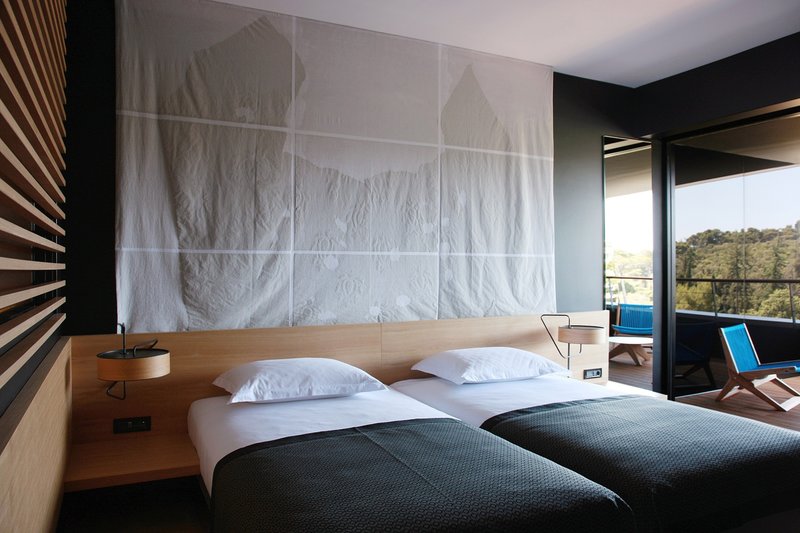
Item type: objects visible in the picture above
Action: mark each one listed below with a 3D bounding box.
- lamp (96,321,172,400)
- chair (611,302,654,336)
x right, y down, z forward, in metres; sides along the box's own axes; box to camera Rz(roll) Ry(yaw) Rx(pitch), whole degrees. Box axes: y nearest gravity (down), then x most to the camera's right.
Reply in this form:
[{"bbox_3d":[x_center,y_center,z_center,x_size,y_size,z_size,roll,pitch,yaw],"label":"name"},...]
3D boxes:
[{"bbox_3d":[-1.629,0.583,3.203,0.432,0.466,0.556,0,-4,-12],"label":"lamp"},{"bbox_3d":[3.059,0.729,6.597,0.498,0.598,0.523,6,5,28],"label":"chair"}]
